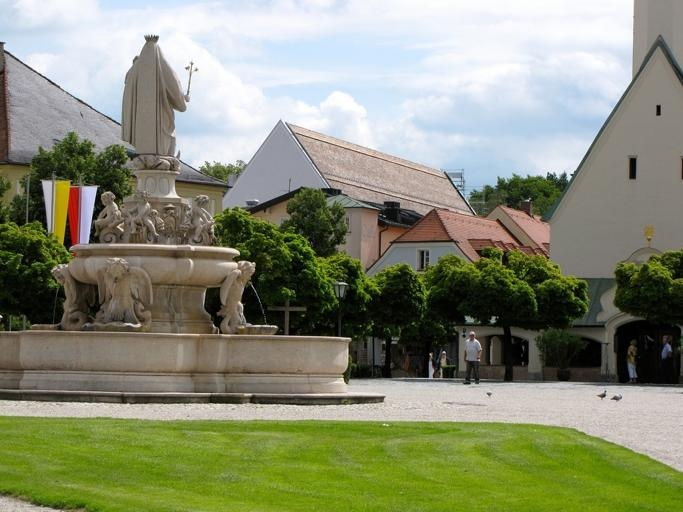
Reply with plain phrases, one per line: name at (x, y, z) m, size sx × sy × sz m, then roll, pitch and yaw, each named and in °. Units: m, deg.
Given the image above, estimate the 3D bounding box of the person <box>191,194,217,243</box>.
person at (-3.147, -0.814, 25.372) m, size 0.548 × 1.240 × 1.073 m, roll 3°, pitch -7°, yaw -6°

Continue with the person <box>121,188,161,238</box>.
person at (-4.424, -0.920, 24.635) m, size 0.722 × 1.098 × 0.637 m, roll -17°, pitch -29°, yaw 30°

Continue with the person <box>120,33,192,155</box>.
person at (-4.354, -3.717, 25.852) m, size 1.407 × 2.753 × 0.932 m, roll 4°, pitch -7°, yaw -9°

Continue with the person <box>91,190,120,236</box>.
person at (-5.135, -0.924, 24.669) m, size 0.600 × 1.131 × 1.007 m, roll 4°, pitch -7°, yaw -13°

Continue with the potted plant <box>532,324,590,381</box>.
potted plant at (10.342, 4.750, 52.509) m, size 2.250 × 2.363 × 2.248 m, roll 13°, pitch -22°, yaw -43°
